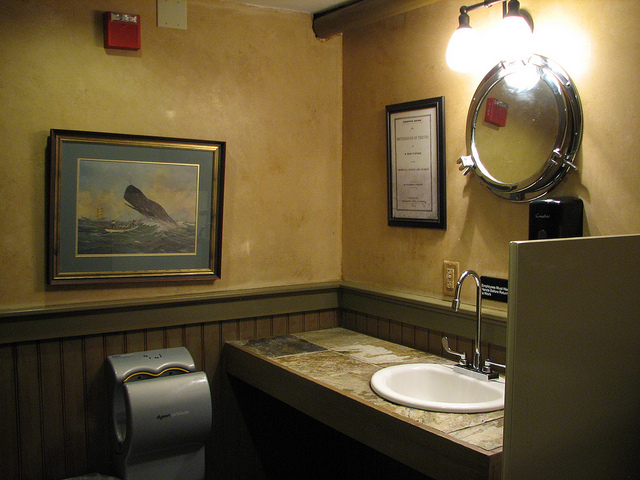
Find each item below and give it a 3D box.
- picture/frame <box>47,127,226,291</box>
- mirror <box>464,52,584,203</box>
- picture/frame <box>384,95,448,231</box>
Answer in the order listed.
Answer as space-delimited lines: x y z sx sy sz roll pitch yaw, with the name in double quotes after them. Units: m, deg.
-1.013 -0.177 2.672 0.843 0.802 0.076 0 2 -25 "picture/frame"
0.962 -0.529 2.310 0.123 0.817 0.667 1 3 -38 "mirror"
0.548 -0.432 2.846 0.082 0.716 0.448 -6 10 -36 "picture/frame"
